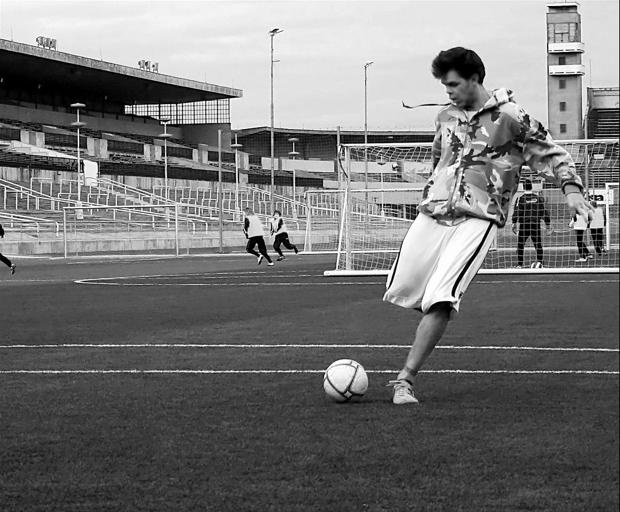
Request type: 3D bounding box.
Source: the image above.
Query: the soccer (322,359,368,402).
[{"bbox_3d":[0.221,0.769,6.581,0.253,0.252,0.251,39,-4,16],"label":"soccer"}]

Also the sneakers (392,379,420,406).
[{"bbox_3d":[0.589,0.819,6.357,0.160,0.141,0.210,2,5,5],"label":"sneakers"}]

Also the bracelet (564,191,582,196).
[{"bbox_3d":[1.579,-0.374,6.254,0.099,0.034,0.054,2,5,14],"label":"bracelet"}]

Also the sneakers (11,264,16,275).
[{"bbox_3d":[-6.099,0.261,21.407,0.094,0.208,0.071,1,26,-2],"label":"sneakers"}]

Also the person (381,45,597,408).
[{"bbox_3d":[1.107,-0.177,6.481,1.281,2.208,0.989,-2,-24,36],"label":"person"}]

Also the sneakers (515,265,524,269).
[{"bbox_3d":[3.953,0.192,19.632,0.086,0.051,0.138,-2,-3,0],"label":"sneakers"}]
